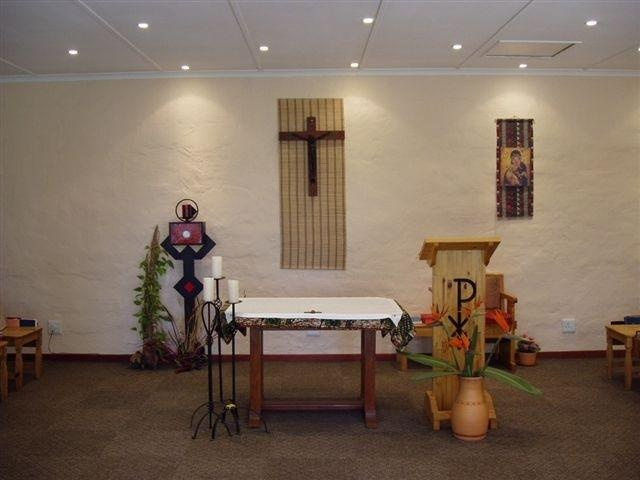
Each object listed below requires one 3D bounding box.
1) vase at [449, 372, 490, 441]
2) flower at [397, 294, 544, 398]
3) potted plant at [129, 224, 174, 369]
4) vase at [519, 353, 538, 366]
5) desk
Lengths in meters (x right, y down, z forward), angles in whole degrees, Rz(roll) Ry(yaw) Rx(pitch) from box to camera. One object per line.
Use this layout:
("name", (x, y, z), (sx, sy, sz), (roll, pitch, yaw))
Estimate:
("vase", (1.379, 1.561, 5.225), (0.380, 0.578, 0.366), (5, -4, -43))
("flower", (1.329, 0.995, 5.181), (1.001, 0.708, 0.528), (2, 11, 12))
("potted plant", (-2.093, 0.709, 6.949), (0.534, 1.692, 0.565), (-3, 11, -10))
("vase", (2.539, 1.442, 6.875), (0.172, 0.122, 0.173), (0, -4, 10))
("desk", (-0.067, 1.215, 5.597), (1.787, 1.117, 1.184), (0, 0, 1))
